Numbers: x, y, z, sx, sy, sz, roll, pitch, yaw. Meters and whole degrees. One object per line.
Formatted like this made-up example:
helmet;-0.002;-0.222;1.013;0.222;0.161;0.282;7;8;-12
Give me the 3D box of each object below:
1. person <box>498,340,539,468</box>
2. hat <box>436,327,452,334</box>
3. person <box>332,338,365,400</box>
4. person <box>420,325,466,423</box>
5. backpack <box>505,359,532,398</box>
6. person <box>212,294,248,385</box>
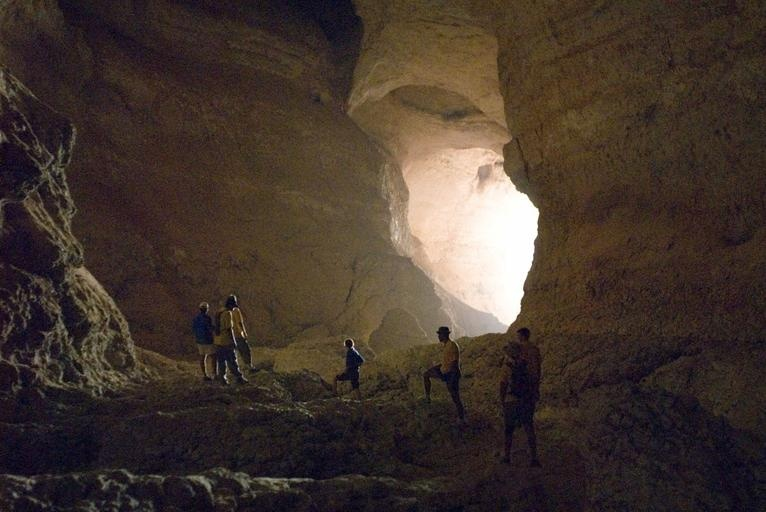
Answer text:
person;1.771;1.884;12.138;0.470;1.498;0.596;0;-23;11
hat;0.851;1.011;12.986;0.133;0.054;0.160;1;-7;12
person;-0.526;1.801;14.373;0.436;0.912;1.407;5;-23;-1
person;0.848;1.720;13.415;0.647;1.447;0.595;4;-30;1
backpack;1.733;1.569;12.079;0.421;0.636;0.326;1;-10;-7
person;-2.236;1.255;13.994;0.520;1.237;0.804;4;-23;2
